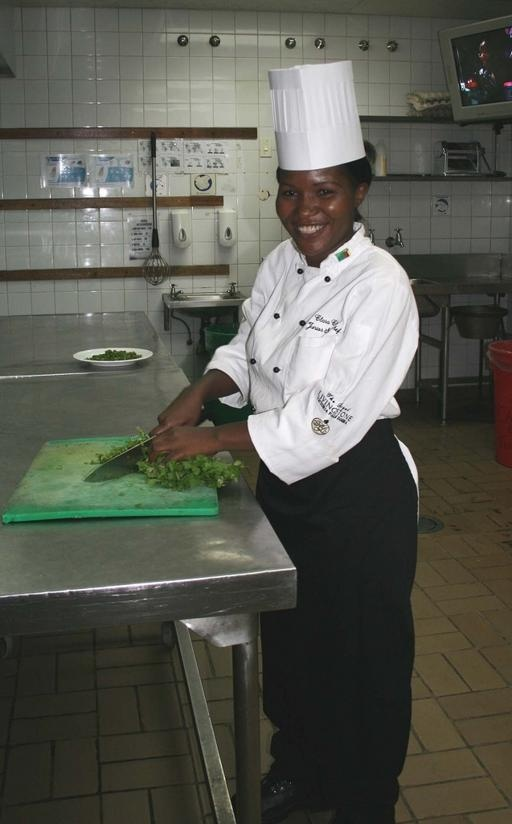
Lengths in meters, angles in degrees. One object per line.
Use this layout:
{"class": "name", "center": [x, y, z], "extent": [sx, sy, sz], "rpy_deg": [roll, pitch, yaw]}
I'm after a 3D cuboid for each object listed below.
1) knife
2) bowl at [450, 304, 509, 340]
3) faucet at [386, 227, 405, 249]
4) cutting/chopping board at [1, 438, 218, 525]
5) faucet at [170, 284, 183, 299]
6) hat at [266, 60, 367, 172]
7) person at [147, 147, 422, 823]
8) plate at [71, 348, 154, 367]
{"class": "knife", "center": [-0.185, 0.040, 1.196], "extent": [0.048, 0.024, 0.340], "rpy_deg": [31, 33, 20]}
{"class": "bowl", "center": [1.665, -0.662, 4.898], "extent": [0.332, 0.167, 0.329], "rpy_deg": [-1, 6, 0]}
{"class": "faucet", "center": [1.186, -1.480, 5.507], "extent": [0.133, 0.220, 0.198], "rpy_deg": [-3, 5, -24]}
{"class": "cutting/chopping board", "center": [-0.245, 0.104, 1.159], "extent": [0.323, 0.065, 0.432], "rpy_deg": [-2, 10, -8]}
{"class": "faucet", "center": [-0.645, -0.969, 5.209], "extent": [0.105, 0.144, 0.154], "rpy_deg": [-1, 5, -1]}
{"class": "hat", "center": [0.120, -0.571, 1.259], "extent": [0.177, 0.233, 0.209], "rpy_deg": [-1, 10, 1]}
{"class": "person", "center": [0.066, 0.215, 1.350], "extent": [0.518, 1.433, 0.495], "rpy_deg": [-9, 13, -38]}
{"class": "plate", "center": [-0.548, -0.211, 2.481], "extent": [0.292, 0.052, 0.348], "rpy_deg": [-2, 10, -9]}
